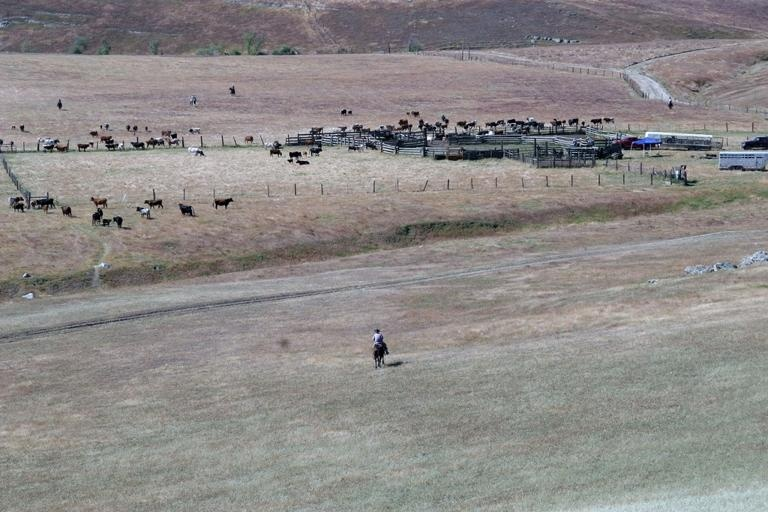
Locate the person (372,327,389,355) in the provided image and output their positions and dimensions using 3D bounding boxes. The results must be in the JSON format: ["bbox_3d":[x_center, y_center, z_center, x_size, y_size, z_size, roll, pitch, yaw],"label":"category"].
[{"bbox_3d":[-0.185,3.562,37.521,0.652,0.677,1.539,-2,13,-6],"label":"person"}]

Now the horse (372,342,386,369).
[{"bbox_3d":[-0.245,4.161,37.167,0.640,1.163,0.702,-11,14,0],"label":"horse"}]
